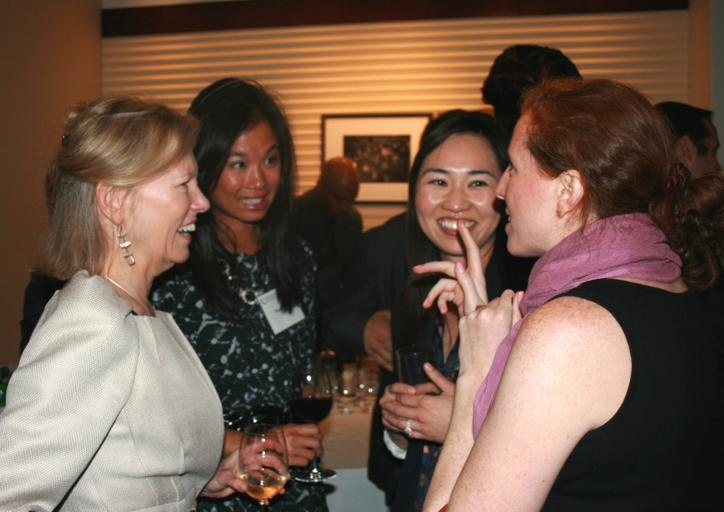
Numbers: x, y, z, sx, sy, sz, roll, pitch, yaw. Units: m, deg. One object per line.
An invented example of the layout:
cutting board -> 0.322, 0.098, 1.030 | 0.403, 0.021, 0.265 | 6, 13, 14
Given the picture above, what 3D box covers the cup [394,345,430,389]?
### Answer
cup -> 0.161, 0.385, 2.346 | 0.134, 0.136, 0.126 | -7, -14, -2
